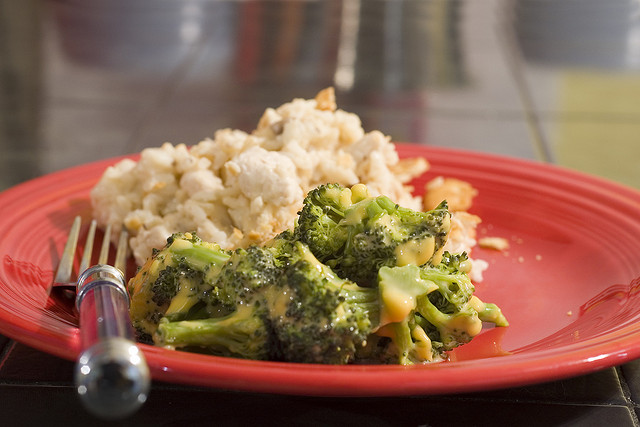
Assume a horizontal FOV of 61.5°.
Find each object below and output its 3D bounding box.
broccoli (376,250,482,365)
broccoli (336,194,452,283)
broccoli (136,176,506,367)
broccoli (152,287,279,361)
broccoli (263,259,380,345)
[{"bbox_3d":[0.136,0.128,0.729,0.164,0.117,0.078,0,34,-20],"label":"broccoli"},{"bbox_3d":[0.097,0.013,0.800,0.180,0.086,0.171,-5,30,-15],"label":"broccoli"},{"bbox_3d":[-0.011,0.097,0.730,0.361,0.270,0.147,5,88,-23],"label":"broccoli"},{"bbox_3d":[-0.130,0.139,0.685,0.144,0.071,0.088,-2,55,-8],"label":"broccoli"},{"bbox_3d":[0.003,0.115,0.683,0.149,0.061,0.088,1,48,-5],"label":"broccoli"}]
